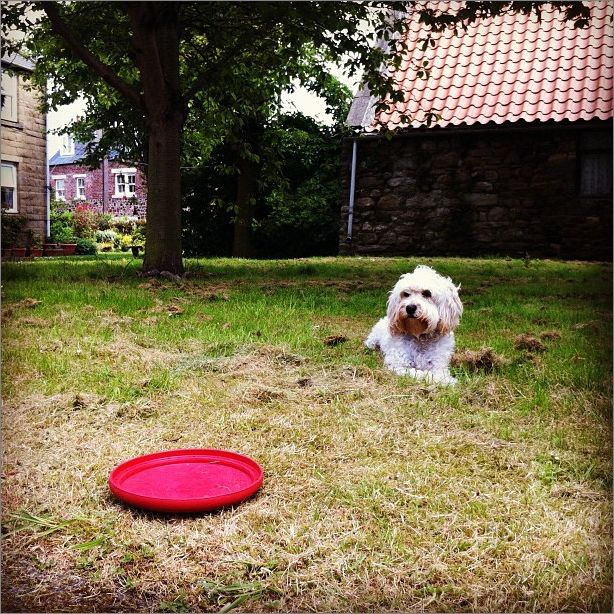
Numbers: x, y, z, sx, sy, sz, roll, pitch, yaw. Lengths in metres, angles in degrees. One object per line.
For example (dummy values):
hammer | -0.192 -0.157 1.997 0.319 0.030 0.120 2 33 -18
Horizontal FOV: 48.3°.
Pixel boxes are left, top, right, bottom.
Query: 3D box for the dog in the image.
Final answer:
dog | 0.824 0.125 5.425 0.730 0.791 1.492 2 6 -4

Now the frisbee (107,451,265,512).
frisbee | -0.532 0.771 3.028 0.655 0.110 0.505 -1 10 -10
